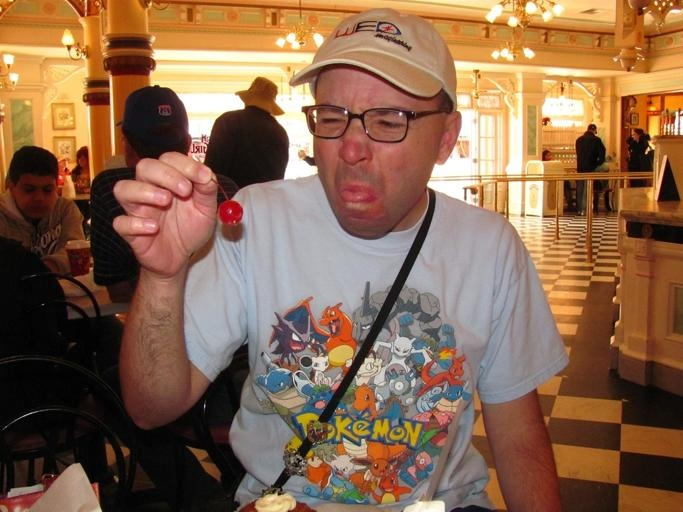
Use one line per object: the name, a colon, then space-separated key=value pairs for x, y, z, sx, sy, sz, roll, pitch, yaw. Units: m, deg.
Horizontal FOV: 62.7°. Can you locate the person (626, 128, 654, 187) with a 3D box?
person: x=7.341 y=-2.366 z=13.829 sx=0.545 sy=1.492 sz=2.647 roll=3 pitch=12 yaw=27

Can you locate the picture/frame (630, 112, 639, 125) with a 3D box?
picture/frame: x=8.714 y=-4.080 z=16.716 sx=0.376 sy=0.436 sz=0.033 roll=-11 pitch=14 yaw=-41

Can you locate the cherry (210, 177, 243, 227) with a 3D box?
cherry: x=-0.247 y=-0.121 z=1.222 sx=0.051 sy=0.123 sz=0.050 roll=-11 pitch=-7 yaw=38

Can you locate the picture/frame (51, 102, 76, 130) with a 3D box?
picture/frame: x=-7.159 y=-3.578 z=14.383 sx=0.646 sy=0.864 sz=0.055 roll=-1 pitch=0 yaw=-27

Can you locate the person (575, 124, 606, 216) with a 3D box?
person: x=5.629 y=-1.896 z=12.721 sx=0.560 sy=2.126 sz=1.303 roll=2 pitch=11 yaw=25

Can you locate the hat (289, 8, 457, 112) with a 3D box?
hat: x=0.103 y=-0.459 z=1.401 sx=0.254 sy=0.185 sz=0.327 roll=14 pitch=2 yaw=42

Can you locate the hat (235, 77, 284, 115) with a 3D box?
hat: x=-0.600 y=-1.242 z=4.238 sx=0.361 sy=0.213 sz=0.374 roll=13 pitch=21 yaw=-24

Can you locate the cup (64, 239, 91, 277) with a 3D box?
cup: x=-1.402 y=0.015 z=3.073 sx=0.152 sy=0.188 sz=0.159 roll=0 pitch=7 yaw=0

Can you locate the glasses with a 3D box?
glasses: x=0.094 y=-0.333 z=1.407 sx=0.373 sy=0.104 sz=0.163 roll=-3 pitch=11 yaw=-3
